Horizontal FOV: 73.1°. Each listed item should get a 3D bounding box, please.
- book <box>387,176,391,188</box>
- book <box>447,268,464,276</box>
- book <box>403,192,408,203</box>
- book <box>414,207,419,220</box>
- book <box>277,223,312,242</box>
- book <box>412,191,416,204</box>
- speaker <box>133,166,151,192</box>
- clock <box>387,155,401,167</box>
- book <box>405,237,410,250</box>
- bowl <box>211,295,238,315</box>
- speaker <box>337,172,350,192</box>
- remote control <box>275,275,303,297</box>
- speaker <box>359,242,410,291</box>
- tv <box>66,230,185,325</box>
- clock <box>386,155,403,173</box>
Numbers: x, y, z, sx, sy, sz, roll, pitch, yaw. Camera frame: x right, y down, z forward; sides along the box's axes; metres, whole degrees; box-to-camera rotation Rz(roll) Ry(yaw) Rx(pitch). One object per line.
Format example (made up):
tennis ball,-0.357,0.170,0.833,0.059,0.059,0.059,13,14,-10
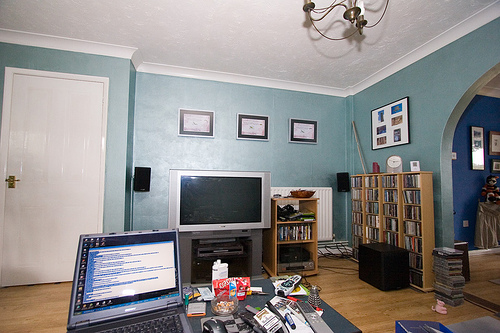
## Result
book,2.076,0.218,5.071,0.041,0.176,0.070,3,12,13
book,2.634,1.358,4.369,0.158,0.053,0.119,0,0,-4
book,2.226,0.438,4.863,0.026,0.105,0.109,-12,-8,32
book,2.321,0.642,4.717,0.030,0.171,0.090,-6,13,-27
book,0.660,0.980,5.151,0.507,0.261,0.448,1,-5,-5
book,2.298,0.428,4.751,0.030,0.125,0.127,0,0,27
speaker,-1.727,0.187,5.238,0.319,0.368,0.306,0,-3,30
clock,2.221,-0.091,5.190,0.089,0.163,0.234,-5,12,-24
book,2.234,1.079,4.803,0.041,0.166,0.102,1,11,5
bowl,-0.241,1.327,3.245,0.244,0.120,0.155,-2,11,-8
speaker,1.624,0.261,5.887,0.219,0.320,0.133,3,12,14
remote control,0.388,1.226,3.496,0.316,0.132,0.149,-8,14,-36
speaker,1.921,1.391,4.772,0.639,0.549,0.442,-1,11,-5
tv,-1.239,0.842,3.405,1.073,0.847,0.756,0,11,-16
clock,2.215,-0.046,5.188,0.051,0.347,0.264,10,-9,-25
